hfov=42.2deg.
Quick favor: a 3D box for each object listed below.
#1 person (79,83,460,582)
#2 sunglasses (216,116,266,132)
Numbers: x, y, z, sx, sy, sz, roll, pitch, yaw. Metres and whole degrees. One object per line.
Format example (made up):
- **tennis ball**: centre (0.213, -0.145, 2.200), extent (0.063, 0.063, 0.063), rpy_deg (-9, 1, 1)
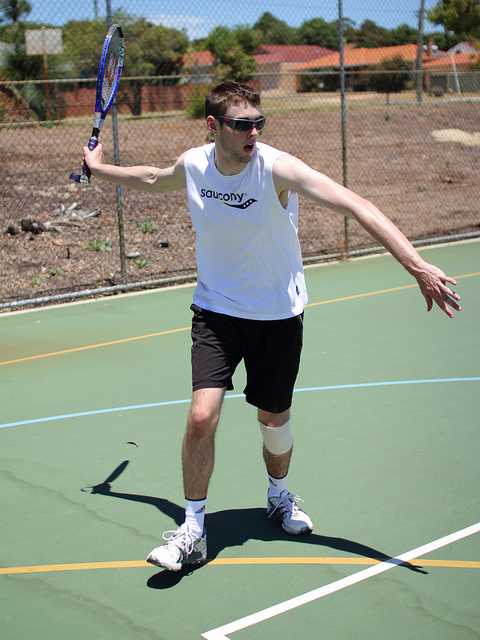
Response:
- **person**: centre (0.051, 0.051, 2.539), extent (1.410, 1.966, 0.720), rpy_deg (1, 12, 17)
- **sunglasses**: centre (0.006, -0.744, 2.367), extent (0.187, 0.070, 0.138), rpy_deg (-4, 12, -4)
